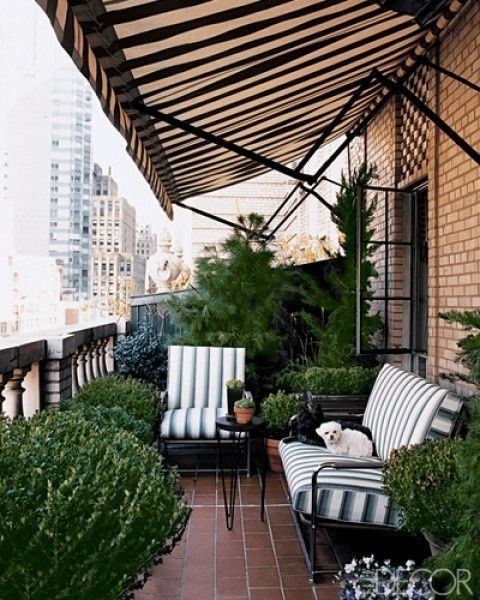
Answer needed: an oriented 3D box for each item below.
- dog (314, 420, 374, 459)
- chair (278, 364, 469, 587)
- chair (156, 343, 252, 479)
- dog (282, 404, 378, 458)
[{"bbox_3d":[0.667,0.920,3.685,0.308,0.144,0.228,7,10,13],"label":"dog"},{"bbox_3d":[0.755,1.014,3.738,0.889,0.932,1.606,-4,0,4],"label":"chair"},{"bbox_3d":[-0.349,0.980,5.058,0.724,0.990,0.779,0,5,3],"label":"chair"},{"bbox_3d":[0.584,0.882,4.001,0.410,0.365,0.325,-3,8,-2],"label":"dog"}]
